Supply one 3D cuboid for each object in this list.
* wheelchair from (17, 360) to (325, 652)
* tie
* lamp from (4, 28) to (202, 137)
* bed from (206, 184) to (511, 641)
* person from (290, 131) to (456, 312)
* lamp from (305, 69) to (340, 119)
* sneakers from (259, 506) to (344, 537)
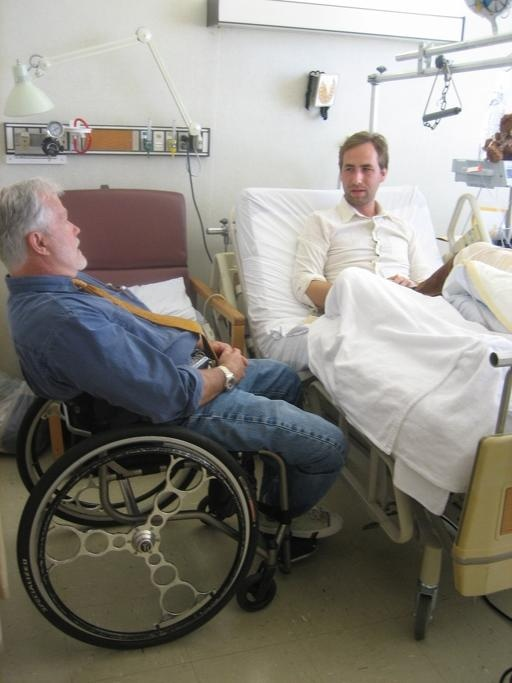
[{"bbox_3d":[-0.262,0.317,1.497,0.744,0.740,0.584,-6,14,-17],"label":"wheelchair"},{"bbox_3d":[-0.300,-0.077,1.583,0.206,0.173,0.354,-20,55,-33],"label":"tie"},{"bbox_3d":[-0.692,-1.120,2.379,0.798,0.428,0.467,-11,25,-30],"label":"lamp"},{"bbox_3d":[0.378,0.054,1.850,0.784,0.822,1.304,-12,33,-23],"label":"bed"},{"bbox_3d":[0.513,-0.492,2.425,0.647,0.775,0.606,-3,9,-22],"label":"person"},{"bbox_3d":[0.341,-1.281,2.927,0.157,0.229,0.073,-6,23,-18],"label":"lamp"},{"bbox_3d":[0.128,0.532,1.665,0.240,0.088,0.096,-5,27,-11],"label":"sneakers"}]
